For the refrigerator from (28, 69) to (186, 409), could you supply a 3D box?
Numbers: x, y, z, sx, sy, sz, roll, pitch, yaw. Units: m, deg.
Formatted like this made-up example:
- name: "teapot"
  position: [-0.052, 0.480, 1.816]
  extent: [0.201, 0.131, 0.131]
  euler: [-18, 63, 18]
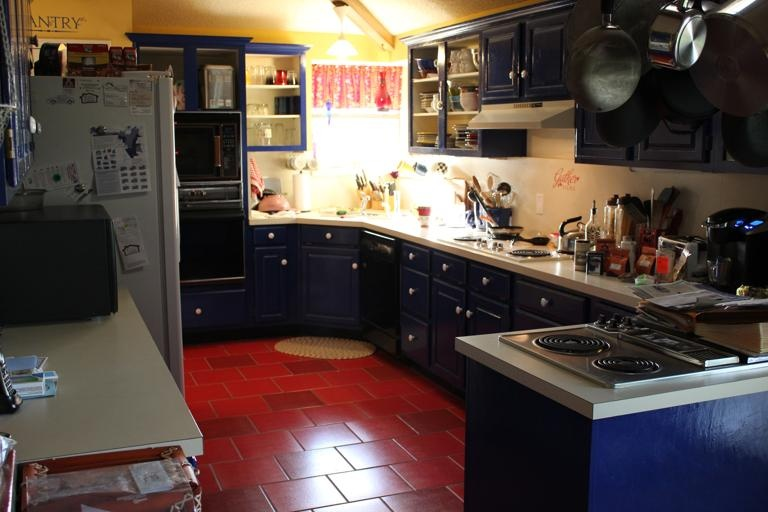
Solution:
- name: "refrigerator"
  position: [-1.534, -0.151, 3.615]
  extent: [0.881, 1.970, 1.014]
  euler: [-4, 8, -25]

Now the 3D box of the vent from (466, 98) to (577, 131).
- name: "vent"
  position: [0.970, -1.021, 4.085]
  extent: [0.348, 0.181, 0.835]
  euler: [-7, 14, -27]

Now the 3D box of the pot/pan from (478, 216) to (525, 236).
- name: "pot/pan"
  position: [0.921, -0.241, 4.460]
  extent: [0.258, 0.089, 0.167]
  euler: [5, 4, 41]

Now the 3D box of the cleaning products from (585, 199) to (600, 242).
- name: "cleaning products"
  position: [1.403, -0.219, 3.764]
  extent: [0.116, 0.279, 0.113]
  euler: [-11, 17, -18]

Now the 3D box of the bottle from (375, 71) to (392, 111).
- name: "bottle"
  position: [-0.008, -1.742, 5.963]
  extent: [0.176, 0.396, 0.148]
  euler: [-1, 13, -2]

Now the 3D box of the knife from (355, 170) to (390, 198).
- name: "knife"
  position: [-0.105, -0.737, 5.986]
  extent: [0.391, 0.136, 0.284]
  euler: [20, 13, 39]

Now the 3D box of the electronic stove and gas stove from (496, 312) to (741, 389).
- name: "electronic stove and gas stove"
  position: [0.867, 0.336, 2.139]
  extent: [0.568, 0.069, 0.645]
  euler: [-7, 15, -28]

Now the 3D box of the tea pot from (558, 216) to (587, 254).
- name: "tea pot"
  position: [1.332, -0.142, 3.977]
  extent: [0.219, 0.226, 0.280]
  euler: [10, 12, 44]

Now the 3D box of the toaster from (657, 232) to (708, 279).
- name: "toaster"
  position: [1.625, -0.001, 3.096]
  extent: [0.214, 0.234, 0.341]
  euler: [-3, 10, -10]
